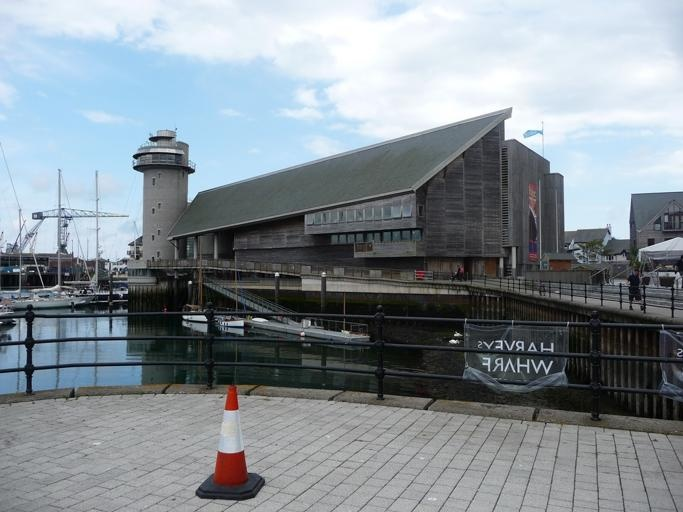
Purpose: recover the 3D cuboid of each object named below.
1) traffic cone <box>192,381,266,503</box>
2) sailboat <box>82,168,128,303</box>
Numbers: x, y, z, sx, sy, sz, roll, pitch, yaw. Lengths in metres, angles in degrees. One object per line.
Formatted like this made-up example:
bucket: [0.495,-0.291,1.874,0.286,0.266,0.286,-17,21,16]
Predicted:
traffic cone: [-1.416,2.315,8.827,0.789,1.306,0.692,0,-1,9]
sailboat: [-31.927,2.147,92.576,2.802,16.934,1.509,7,0,43]
